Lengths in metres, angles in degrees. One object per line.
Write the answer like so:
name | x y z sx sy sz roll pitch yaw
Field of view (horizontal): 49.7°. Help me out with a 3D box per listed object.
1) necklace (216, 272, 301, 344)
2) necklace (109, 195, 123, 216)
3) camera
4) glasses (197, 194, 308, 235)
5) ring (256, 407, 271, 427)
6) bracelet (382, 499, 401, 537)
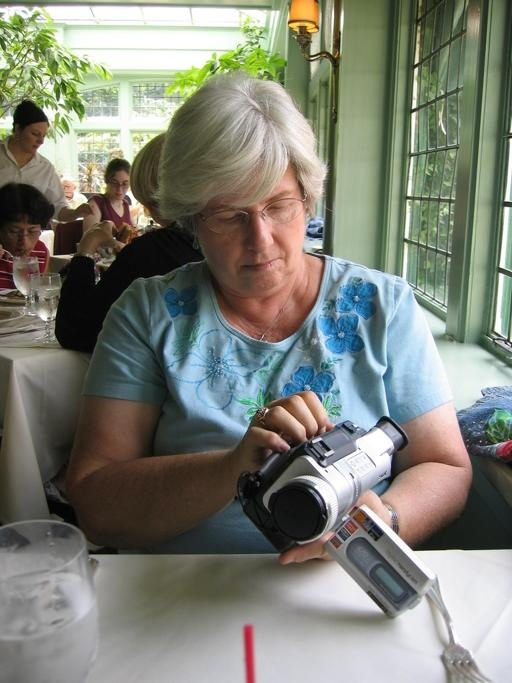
necklace | 0.004 -0.052 0.945 0.078 0.091 0.035 -11 -18 14
necklace | -1.103 -1.064 4.328 0.093 0.121 0.152 -5 -21 0
camera | 0.099 0.181 0.557 0.179 0.070 0.236 -13 29 -3
glasses | -0.007 -0.198 0.869 0.159 0.056 0.057 -1 15 -6
ring | 0.007 0.096 0.693 0.013 0.022 0.018 22 -18 -37
bracelet | 0.186 0.236 0.739 0.014 0.035 0.027 -28 22 -37
